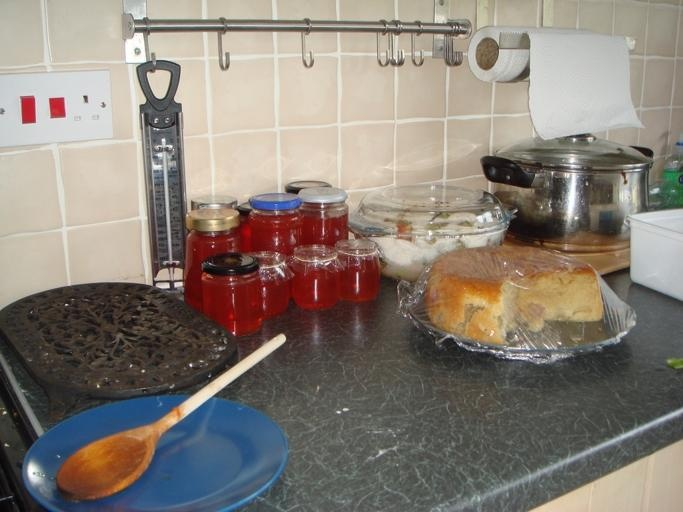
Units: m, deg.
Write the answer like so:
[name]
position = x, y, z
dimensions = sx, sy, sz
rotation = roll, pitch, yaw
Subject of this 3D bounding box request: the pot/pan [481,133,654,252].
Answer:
[pot/pan]
position = 0.549, -0.156, 1.289
dimensions = 0.404, 0.244, 0.298
rotation = -7, 15, -26

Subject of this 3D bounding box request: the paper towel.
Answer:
[paper towel]
position = 0.543, -0.432, 1.332
dimensions = 0.517, 0.289, 0.272
rotation = -7, 24, -28

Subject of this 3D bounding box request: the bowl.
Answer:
[bowl]
position = 0.195, -0.111, 1.171
dimensions = 0.270, 0.218, 0.327
rotation = -13, 23, -40
